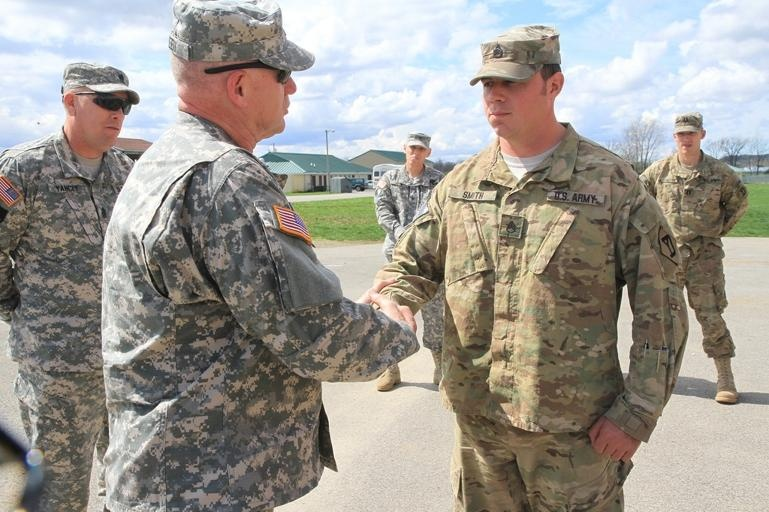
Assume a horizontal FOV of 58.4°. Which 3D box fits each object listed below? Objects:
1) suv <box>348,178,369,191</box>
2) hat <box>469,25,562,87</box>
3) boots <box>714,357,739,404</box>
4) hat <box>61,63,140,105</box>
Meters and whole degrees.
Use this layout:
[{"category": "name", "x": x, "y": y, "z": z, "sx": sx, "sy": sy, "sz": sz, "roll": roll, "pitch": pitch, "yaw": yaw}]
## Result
[{"category": "suv", "x": -2.472, "y": -7.054, "z": 68.861, "sx": 1.372, "sy": 0.928, "sz": 2.293, "roll": -10, "pitch": 20, "yaw": -31}, {"category": "hat", "x": 0.744, "y": -1.182, "z": 3.981, "sx": 0.495, "sy": 0.264, "sz": 0.667, "roll": 7, "pitch": 23, "yaw": 39}, {"category": "boots", "x": 3.113, "y": 1.124, "z": 6.298, "sx": 0.192, "sy": 0.322, "sz": 0.507, "roll": -8, "pitch": 10, "yaw": 29}, {"category": "hat", "x": -2.136, "y": -1.322, "z": 5.015, "sx": 0.451, "sy": 0.214, "sz": 0.540, "roll": -11, "pitch": 23, "yaw": -18}]
